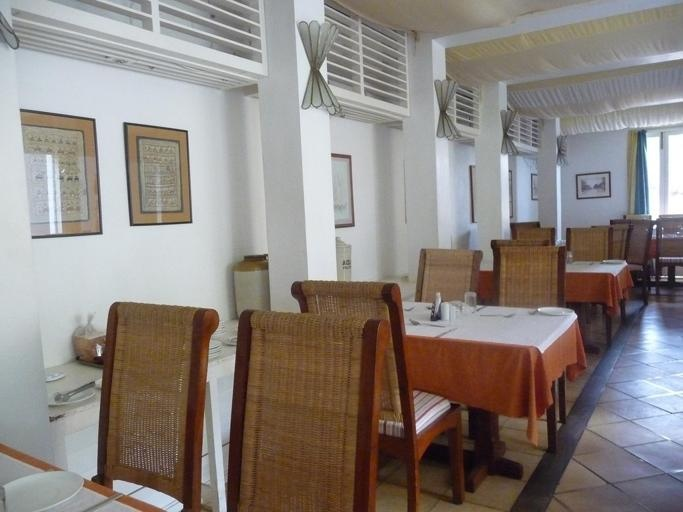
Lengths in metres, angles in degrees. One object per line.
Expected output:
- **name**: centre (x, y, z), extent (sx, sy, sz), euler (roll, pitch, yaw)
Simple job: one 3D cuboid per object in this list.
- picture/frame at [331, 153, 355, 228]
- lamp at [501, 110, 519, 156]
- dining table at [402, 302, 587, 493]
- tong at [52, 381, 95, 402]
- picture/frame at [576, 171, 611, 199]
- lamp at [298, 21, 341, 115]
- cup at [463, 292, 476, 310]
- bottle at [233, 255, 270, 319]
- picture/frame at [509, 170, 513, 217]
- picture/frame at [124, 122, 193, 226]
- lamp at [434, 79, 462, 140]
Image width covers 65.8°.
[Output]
- **picture/frame**: centre (-0.022, -0.708, 5.686), extent (0.028, 0.811, 0.670), euler (-1, 6, 22)
- **lamp**: centre (2.491, -1.805, 7.782), extent (0.204, 0.663, 0.922), euler (-2, 7, 20)
- **dining table**: centre (0.864, 0.850, 3.208), extent (1.052, 0.878, 1.047), euler (-3, 3, 40)
- **tong**: centre (-1.465, 0.736, 2.882), extent (0.086, 0.041, 0.227), euler (-2, 9, 24)
- **picture/frame**: centre (5.997, -1.665, 12.433), extent (0.041, 0.567, 0.628), euler (-5, 6, -43)
- **lamp**: centre (-0.156, -1.455, 4.047), extent (0.172, 0.708, 0.362), euler (0, 8, 34)
- **cup**: centre (0.829, 0.293, 3.444), extent (0.064, 0.119, 0.113), euler (-1, -2, 9)
- **bottle**: centre (-0.732, 0.278, 4.467), extent (0.312, 0.562, 0.335), euler (-4, 5, 0)
- **picture/frame**: centre (3.599, -1.281, 11.094), extent (0.054, 1.032, 0.341), euler (-1, 7, 25)
- **picture/frame**: centre (-1.385, -0.603, 3.920), extent (0.038, 0.962, 0.664), euler (6, 11, 36)
- **lamp**: centre (1.210, -1.662, 6.011), extent (0.191, 0.671, 0.412), euler (-1, 7, 23)
